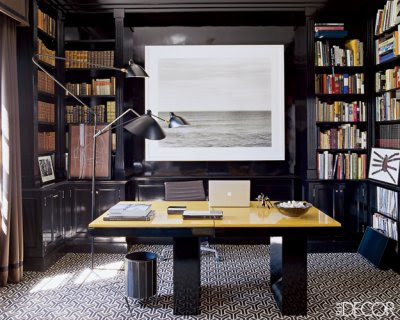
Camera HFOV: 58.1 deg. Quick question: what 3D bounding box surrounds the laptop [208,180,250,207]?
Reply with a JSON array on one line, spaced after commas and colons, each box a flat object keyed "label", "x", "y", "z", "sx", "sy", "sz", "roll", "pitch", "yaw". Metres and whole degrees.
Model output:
[{"label": "laptop", "x": 0.362, "y": 0.412, "z": 4.378, "sx": 0.429, "sy": 0.314, "sz": 0.322, "roll": 1, "pitch": 1, "yaw": 0}]

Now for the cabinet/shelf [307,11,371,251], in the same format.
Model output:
[{"label": "cabinet/shelf", "x": 2.118, "y": -0.353, "z": 5.484, "sx": 0.856, "sy": 3.702, "sz": 0.453, "roll": 1, "pitch": 12, "yaw": 24}]

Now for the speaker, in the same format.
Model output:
[{"label": "speaker", "x": 2.428, "y": 1.231, "z": 4.924, "sx": 0.151, "sy": 0.411, "sz": 0.459, "roll": 15, "pitch": 9, "yaw": -14}]

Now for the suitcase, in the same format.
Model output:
[{"label": "suitcase", "x": 2.428, "y": 1.225, "z": 4.932, "sx": 0.153, "sy": 0.407, "sz": 0.456, "roll": 15, "pitch": 8, "yaw": -13}]

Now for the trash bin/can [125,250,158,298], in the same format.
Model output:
[{"label": "trash bin/can", "x": -0.603, "y": 1.334, "z": 4.281, "sx": 0.430, "sy": 0.544, "sz": 0.462, "roll": 1, "pitch": 1, "yaw": 0}]

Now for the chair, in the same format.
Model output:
[{"label": "chair", "x": -0.205, "y": 0.916, "z": 5.658, "sx": 0.915, "sy": 1.496, "sz": 1.016, "roll": 0, "pitch": -7, "yaw": -1}]

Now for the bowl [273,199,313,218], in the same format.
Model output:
[{"label": "bowl", "x": 1.011, "y": 0.536, "z": 4.013, "sx": 0.243, "sy": 0.096, "sz": 0.249, "roll": 0, "pitch": -2, "yaw": 0}]
